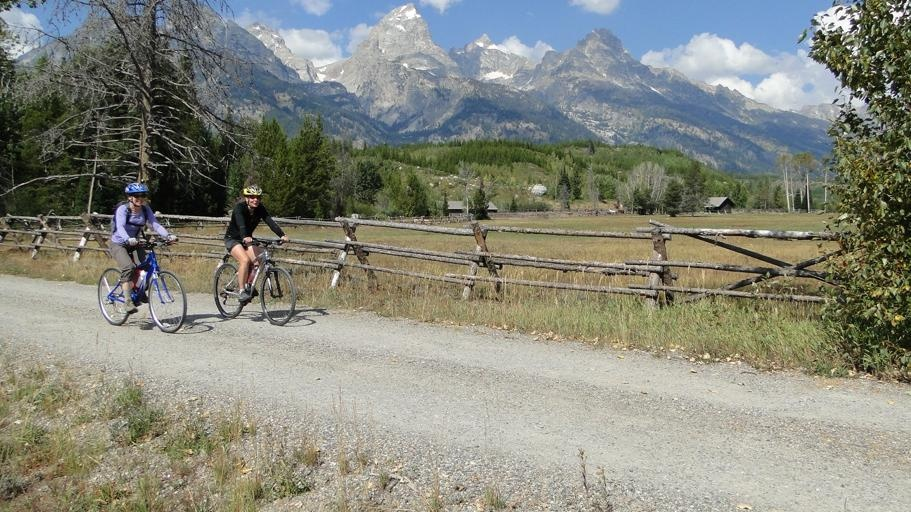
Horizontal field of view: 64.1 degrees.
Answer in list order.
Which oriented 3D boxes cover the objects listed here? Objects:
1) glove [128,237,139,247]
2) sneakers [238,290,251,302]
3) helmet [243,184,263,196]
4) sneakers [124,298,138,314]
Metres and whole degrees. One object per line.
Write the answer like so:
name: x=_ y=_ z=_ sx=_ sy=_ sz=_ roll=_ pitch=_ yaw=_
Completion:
glove: x=-8.841 y=-0.388 z=19.972 sx=0.249 sy=0.232 sz=0.335 roll=-3 pitch=12 yaw=-13
sneakers: x=-6.005 y=1.149 z=20.771 sx=0.203 sy=0.174 sz=0.367 roll=-3 pitch=-2 yaw=-34
helmet: x=-5.794 y=-1.838 z=20.748 sx=0.447 sy=0.341 sz=0.573 roll=-5 pitch=12 yaw=-21
sneakers: x=-8.947 y=1.406 z=20.105 sx=0.244 sy=0.445 sz=0.293 roll=4 pitch=16 yaw=-7
